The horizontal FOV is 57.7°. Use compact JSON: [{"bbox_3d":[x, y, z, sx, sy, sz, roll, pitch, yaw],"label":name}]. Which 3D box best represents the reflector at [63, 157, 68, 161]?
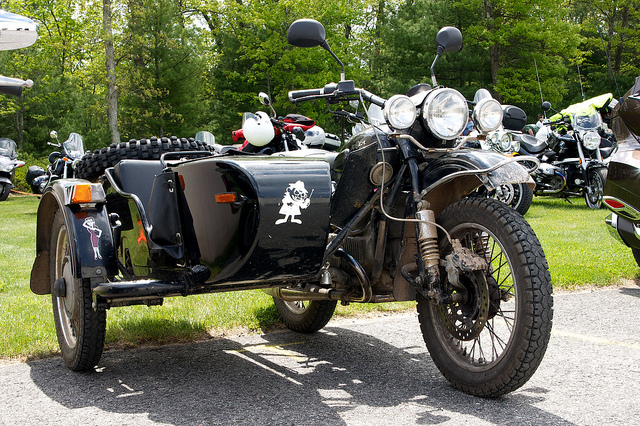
[{"bbox_3d":[-5.866,-1.251,13.430,0.090,0.091,0.025,0,-15,-22],"label":"reflector"}]

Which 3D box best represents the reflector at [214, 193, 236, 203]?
[{"bbox_3d":[-0.823,-0.132,5.038,0.210,0.089,0.011,4,11,19],"label":"reflector"}]

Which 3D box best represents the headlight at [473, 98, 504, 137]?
[{"bbox_3d":[1.515,-0.862,5.218,0.200,0.329,0.306,9,14,40],"label":"headlight"}]

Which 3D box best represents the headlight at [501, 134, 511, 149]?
[{"bbox_3d":[4.286,-1.646,13.432,0.294,0.330,0.066,-7,13,-35],"label":"headlight"}]

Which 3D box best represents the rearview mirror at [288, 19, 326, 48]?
[{"bbox_3d":[-0.136,-1.663,5.360,0.373,0.224,0.357,-8,18,-25],"label":"rearview mirror"}]

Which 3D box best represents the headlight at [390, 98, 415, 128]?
[{"bbox_3d":[0.704,-0.868,5.036,0.254,0.285,0.066,1,-1,-8],"label":"headlight"}]

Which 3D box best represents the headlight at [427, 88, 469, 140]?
[{"bbox_3d":[1.091,-0.868,5.070,0.404,0.466,0.136,-9,12,-20],"label":"headlight"}]

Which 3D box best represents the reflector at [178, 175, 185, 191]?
[{"bbox_3d":[-1.235,-0.282,5.212,0.025,0.101,0.101,-8,16,-21],"label":"reflector"}]

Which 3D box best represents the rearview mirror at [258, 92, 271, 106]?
[{"bbox_3d":[-0.639,-1.315,6.683,0.076,0.078,0.218,6,6,-19],"label":"rearview mirror"}]

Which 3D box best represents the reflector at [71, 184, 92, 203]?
[{"bbox_3d":[-2.276,-0.187,5.545,0.178,0.166,0.085,-4,11,-19],"label":"reflector"}]

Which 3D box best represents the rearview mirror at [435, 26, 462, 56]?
[{"bbox_3d":[1.262,-1.696,5.713,0.257,0.285,0.220,2,-1,24],"label":"rearview mirror"}]

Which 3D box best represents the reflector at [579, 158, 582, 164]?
[{"bbox_3d":[6.439,-1.278,14.384,0.032,0.095,0.099,1,-7,-2],"label":"reflector"}]

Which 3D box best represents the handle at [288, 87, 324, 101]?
[{"bbox_3d":[-0.129,-1.105,5.441,0.343,0.112,0.173,-3,11,-15],"label":"handle"}]
